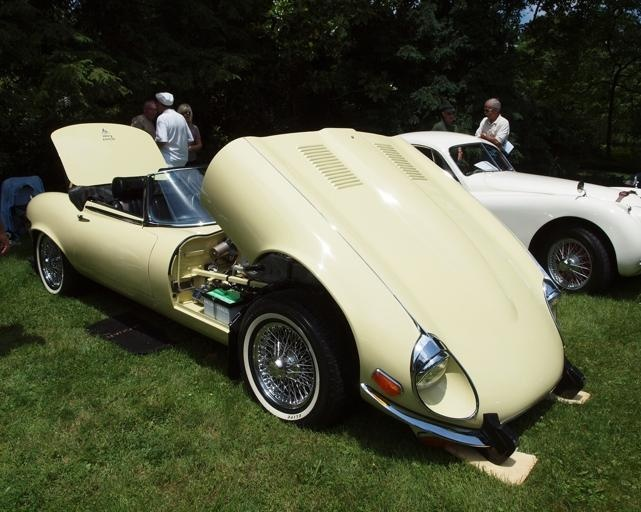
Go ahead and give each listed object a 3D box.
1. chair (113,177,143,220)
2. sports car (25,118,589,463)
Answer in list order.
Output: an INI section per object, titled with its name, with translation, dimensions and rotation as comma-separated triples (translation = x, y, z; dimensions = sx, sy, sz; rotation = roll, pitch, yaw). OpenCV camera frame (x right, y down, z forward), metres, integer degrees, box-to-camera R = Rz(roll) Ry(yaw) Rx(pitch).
[chair]
translation = -2.124, -0.645, 5.525
dimensions = 0.264, 0.441, 0.412
rotation = -3, 18, -12
[sports car]
translation = -0.543, 0.349, 4.849
dimensions = 4.682, 1.897, 2.443
rotation = 22, 28, 24
